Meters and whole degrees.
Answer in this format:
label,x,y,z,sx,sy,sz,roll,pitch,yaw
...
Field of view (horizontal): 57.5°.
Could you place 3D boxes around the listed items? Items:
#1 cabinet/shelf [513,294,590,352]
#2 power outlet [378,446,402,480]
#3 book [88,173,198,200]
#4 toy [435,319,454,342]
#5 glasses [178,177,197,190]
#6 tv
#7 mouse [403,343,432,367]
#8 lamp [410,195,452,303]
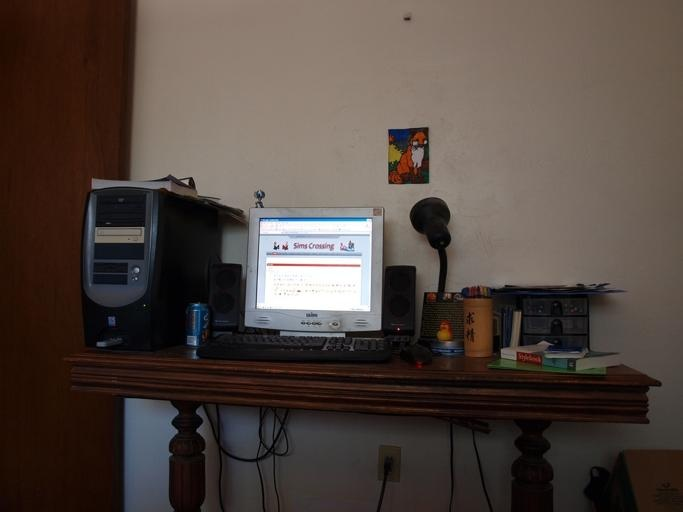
label,x,y,z,sx,sy,sz,roll,pitch,yaw
cabinet/shelf,0.797,0.222,2.435,0.304,0.317,0.172,0,-1,4
power outlet,0.203,0.848,2.549,0.124,0.183,0.019,0,-9,6
book,-0.695,-0.264,2.375,0.182,0.059,0.177,-1,-4,16
toy,0.388,0.283,2.373,0.062,0.090,0.063,-12,-19,38
glasses,-0.626,-0.299,2.535,0.076,0.034,0.060,0,-6,-21
tv,-0.094,0.068,2.459,0.468,0.459,0.097,0,-10,6
mouse,0.263,0.338,2.151,0.052,0.027,0.090,1,9,-8
lamp,0.352,-0.044,2.503,0.176,0.299,0.190,4,-1,10
